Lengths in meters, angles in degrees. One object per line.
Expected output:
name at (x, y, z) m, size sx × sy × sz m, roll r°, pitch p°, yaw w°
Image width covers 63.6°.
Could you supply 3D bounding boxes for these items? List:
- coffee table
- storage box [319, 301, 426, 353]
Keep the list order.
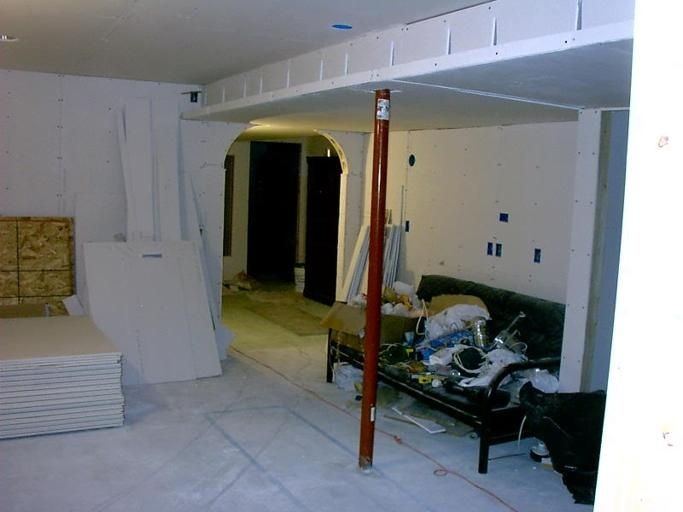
coffee table at (1.403, 1.185, 3.516) m, size 0.429 × 0.589 × 0.349 m, roll 6°, pitch 8°, yaw 23°
storage box at (0.382, 0.791, 6.199) m, size 0.953 × 0.475 × 1.221 m, roll 1°, pitch 0°, yaw -21°
